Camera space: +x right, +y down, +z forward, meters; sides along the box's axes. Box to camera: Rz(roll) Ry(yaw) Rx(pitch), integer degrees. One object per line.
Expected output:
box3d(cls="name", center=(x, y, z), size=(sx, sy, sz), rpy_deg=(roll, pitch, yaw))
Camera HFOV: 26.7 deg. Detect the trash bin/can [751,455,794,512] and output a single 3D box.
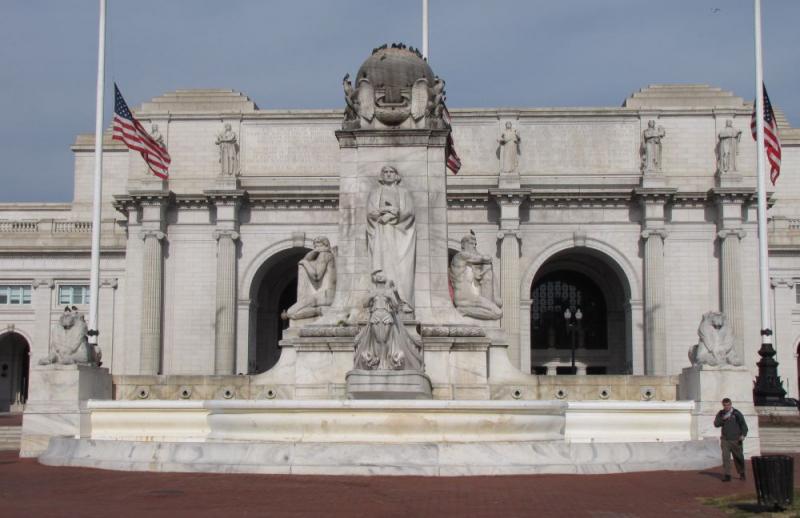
box3d(cls="trash bin/can", center=(12.974, 7.612, 57.787), size=(1.403, 1.749, 1.451), rpy_deg=(2, -1, -36))
